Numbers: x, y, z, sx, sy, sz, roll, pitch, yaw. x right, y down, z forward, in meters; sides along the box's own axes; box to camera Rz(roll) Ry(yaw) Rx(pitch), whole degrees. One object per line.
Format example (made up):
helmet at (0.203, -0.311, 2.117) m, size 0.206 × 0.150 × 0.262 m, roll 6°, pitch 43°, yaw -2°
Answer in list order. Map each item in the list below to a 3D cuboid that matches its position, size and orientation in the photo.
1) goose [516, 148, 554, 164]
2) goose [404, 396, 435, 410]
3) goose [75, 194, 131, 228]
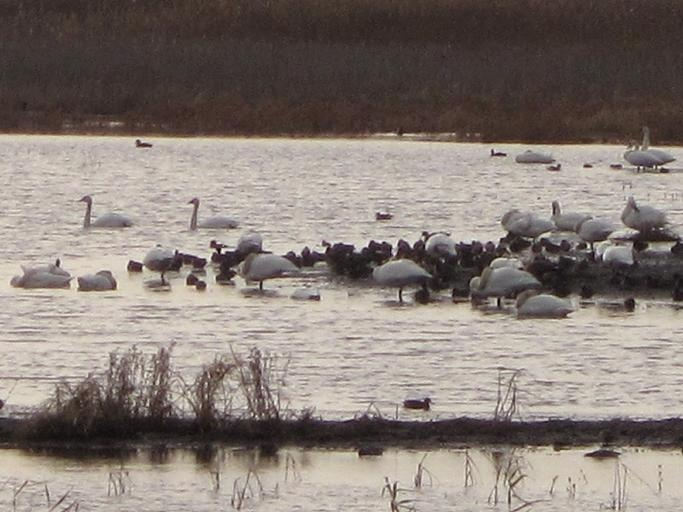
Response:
goose at (6.669, -3.365, 65.673) m, size 0.982 × 0.326 × 0.696 m, roll 4°, pitch 2°, yaw 28°
goose at (1.085, 2.123, 27.586) m, size 0.522 × 0.267 × 0.144 m, roll -3°, pitch 27°, yaw 2°
goose at (-5.117, -0.906, 41.406) m, size 1.561 × 0.891 × 0.584 m, roll 1°, pitch 5°, yaw -2°
